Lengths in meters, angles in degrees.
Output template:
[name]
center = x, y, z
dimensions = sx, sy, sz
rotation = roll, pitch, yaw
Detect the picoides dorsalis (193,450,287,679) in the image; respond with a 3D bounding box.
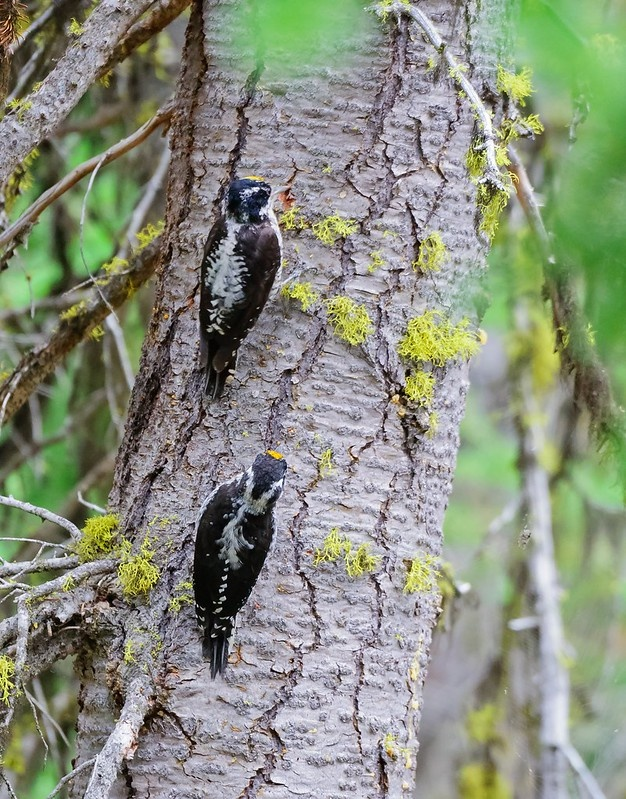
[picoides dorsalis]
center = -0.243, 0.451, 3.454
dimensions = 0.237, 0.283, 0.700
rotation = 18, 82, -3
